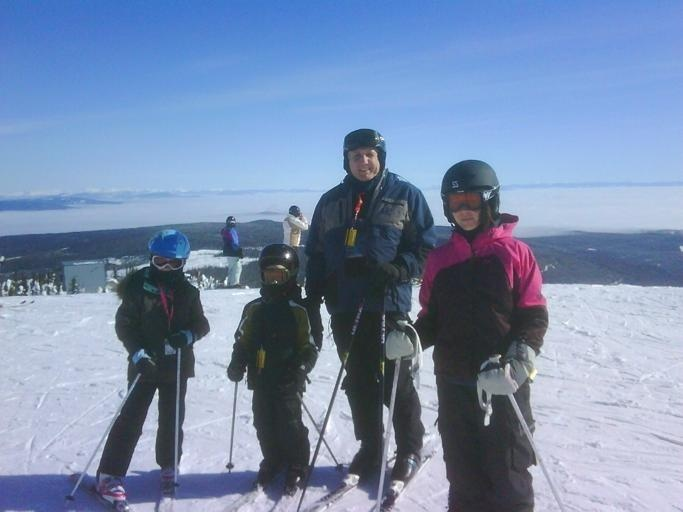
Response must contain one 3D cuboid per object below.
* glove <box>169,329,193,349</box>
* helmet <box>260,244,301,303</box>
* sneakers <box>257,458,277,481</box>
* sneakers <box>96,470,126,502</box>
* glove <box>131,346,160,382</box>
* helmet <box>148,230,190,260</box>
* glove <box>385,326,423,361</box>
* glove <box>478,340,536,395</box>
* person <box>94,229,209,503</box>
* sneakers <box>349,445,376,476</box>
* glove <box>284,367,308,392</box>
[{"bbox_3d":[-1.529,0.764,5.083,0.169,0.163,0.172,-5,4,-29],"label":"glove"},{"bbox_3d":[-0.624,0.166,5.362,0.396,0.584,0.548,-1,-4,4],"label":"helmet"},{"bbox_3d":[-0.711,2.047,5.070,0.124,0.214,0.069,7,-37,5],"label":"sneakers"},{"bbox_3d":[-2.107,2.111,4.873,0.316,0.203,0.155,8,12,32],"label":"sneakers"},{"bbox_3d":[-1.841,1.023,4.992,0.228,0.320,0.247,-3,11,-23],"label":"glove"},{"bbox_3d":[-1.666,-0.082,5.167,0.258,0.360,0.289,11,-11,-10],"label":"helmet"},{"bbox_3d":[0.523,0.746,4.660,0.242,0.157,0.337,7,41,-7],"label":"glove"},{"bbox_3d":[1.293,0.891,4.190,0.416,0.420,0.323,5,11,19],"label":"glove"},{"bbox_3d":[-1.809,0.997,5.091,1.082,2.392,0.738,-5,12,-31],"label":"person"},{"bbox_3d":[0.220,1.992,5.226,0.182,0.141,0.468,3,-10,2],"label":"sneakers"},{"bbox_3d":[-0.415,1.201,5.192,0.175,0.252,0.251,-1,-12,6],"label":"glove"}]
